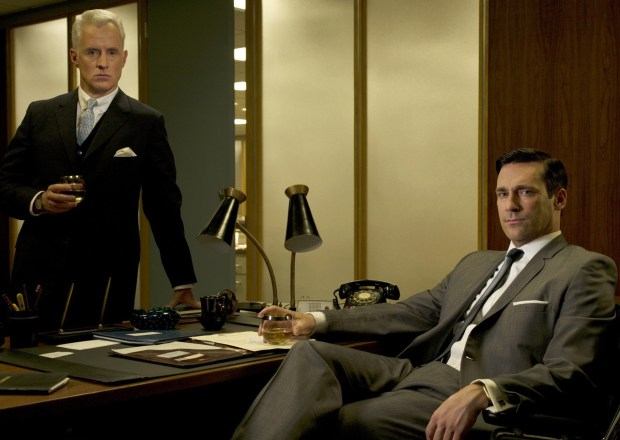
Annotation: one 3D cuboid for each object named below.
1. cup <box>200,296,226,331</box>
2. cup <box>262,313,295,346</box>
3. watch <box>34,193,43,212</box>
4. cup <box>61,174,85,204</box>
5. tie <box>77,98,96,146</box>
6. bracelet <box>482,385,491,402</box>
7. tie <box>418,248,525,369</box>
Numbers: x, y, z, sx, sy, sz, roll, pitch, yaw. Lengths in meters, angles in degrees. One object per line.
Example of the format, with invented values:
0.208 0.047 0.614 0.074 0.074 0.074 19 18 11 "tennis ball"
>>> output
-0.451 0.428 2.417 0.114 0.152 0.092 -1 -4 2 "cup"
-0.155 0.466 2.221 0.175 0.125 0.176 1 -8 0 "cup"
-1.380 -0.088 2.676 0.038 0.088 0.073 8 0 -31 "watch"
-1.061 -0.151 2.376 0.099 0.124 0.131 -1 -4 6 "cup"
-1.284 -0.561 3.006 0.082 0.270 0.037 13 -34 -14 "tie"
0.606 0.598 1.828 0.008 0.032 0.032 -11 35 -5 "bracelet"
0.795 0.260 2.434 0.184 0.974 0.140 30 -29 13 "tie"
